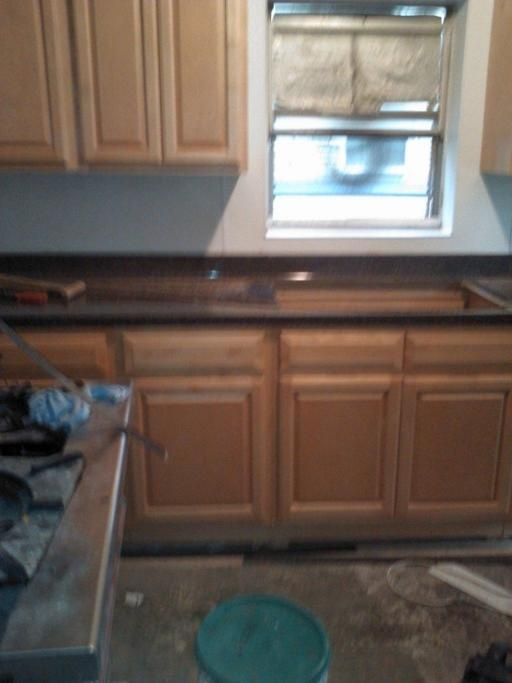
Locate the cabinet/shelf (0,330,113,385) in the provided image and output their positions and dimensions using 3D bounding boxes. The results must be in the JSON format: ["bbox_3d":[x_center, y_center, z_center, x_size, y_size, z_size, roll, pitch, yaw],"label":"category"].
[{"bbox_3d":[-0.558,0.048,1.722,0.410,0.198,0.093,-1,7,2],"label":"cabinet/shelf"}]
